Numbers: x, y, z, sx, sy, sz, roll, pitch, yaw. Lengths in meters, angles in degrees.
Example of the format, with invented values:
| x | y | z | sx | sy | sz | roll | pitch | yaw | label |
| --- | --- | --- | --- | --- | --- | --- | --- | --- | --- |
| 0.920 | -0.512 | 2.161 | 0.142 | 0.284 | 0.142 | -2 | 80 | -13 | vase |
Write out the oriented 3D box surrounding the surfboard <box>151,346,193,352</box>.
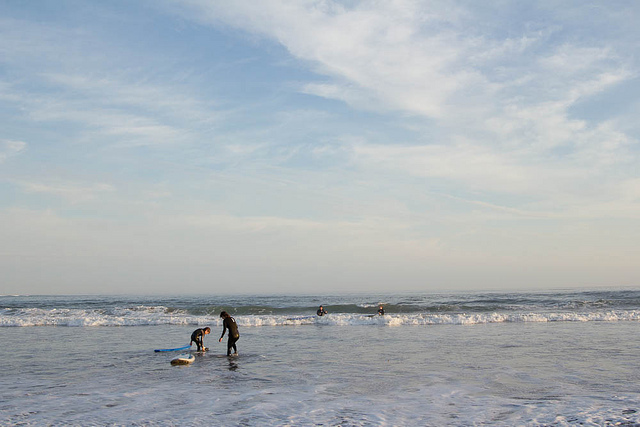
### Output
| x | y | z | sx | sy | sz | roll | pitch | yaw | label |
| --- | --- | --- | --- | --- | --- | --- | --- | --- | --- |
| -7.693 | 6.954 | 31.802 | 1.848 | 0.202 | 1.235 | 0 | -1 | -16 | surfboard |
